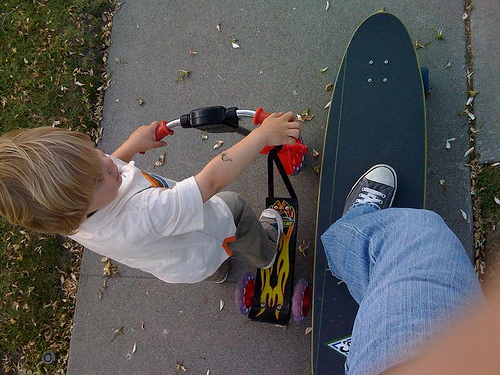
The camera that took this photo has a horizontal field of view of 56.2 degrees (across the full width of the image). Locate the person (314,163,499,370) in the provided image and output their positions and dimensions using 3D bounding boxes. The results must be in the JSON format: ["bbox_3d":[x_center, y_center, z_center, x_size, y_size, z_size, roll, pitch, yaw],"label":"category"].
[{"bbox_3d":[0.945,0.458,2.683,0.883,0.574,1.646,-11,53,35],"label":"person"}]
